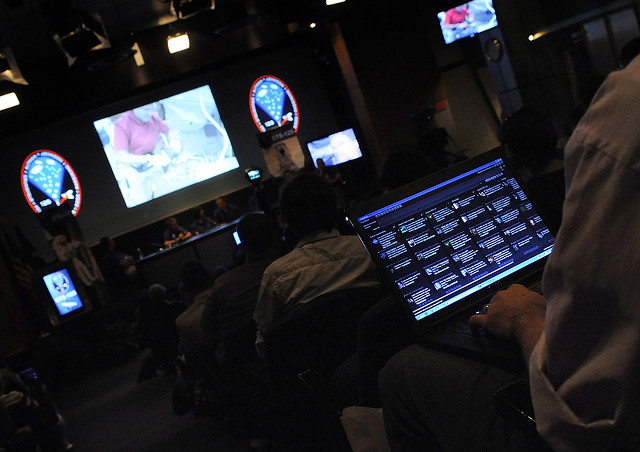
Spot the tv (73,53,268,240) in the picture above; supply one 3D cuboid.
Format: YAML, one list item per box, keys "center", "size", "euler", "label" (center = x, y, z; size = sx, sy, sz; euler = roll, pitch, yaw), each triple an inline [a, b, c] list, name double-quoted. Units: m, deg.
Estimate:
- center: [-2.369, -1.159, 7.729]
  size: [2.368, 1.842, 0.038]
  euler: [-26, 10, -19]
  label: "tv"

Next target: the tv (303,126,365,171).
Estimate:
- center: [0.227, -1.158, 7.988]
  size: [0.809, 0.567, 0.083]
  euler: [-15, 6, -8]
  label: "tv"
